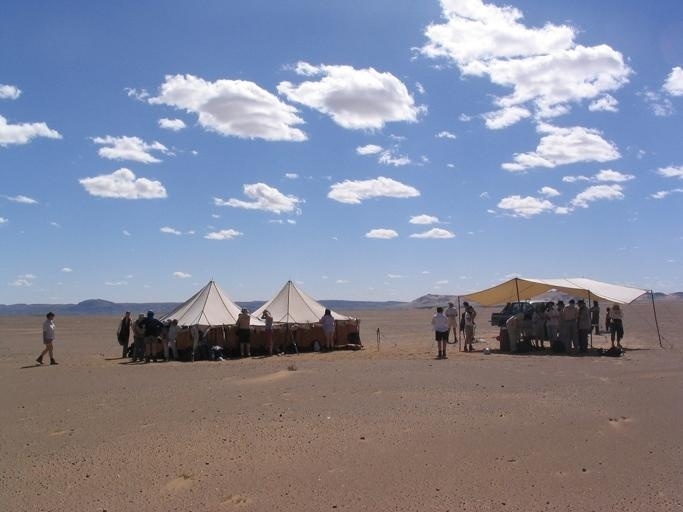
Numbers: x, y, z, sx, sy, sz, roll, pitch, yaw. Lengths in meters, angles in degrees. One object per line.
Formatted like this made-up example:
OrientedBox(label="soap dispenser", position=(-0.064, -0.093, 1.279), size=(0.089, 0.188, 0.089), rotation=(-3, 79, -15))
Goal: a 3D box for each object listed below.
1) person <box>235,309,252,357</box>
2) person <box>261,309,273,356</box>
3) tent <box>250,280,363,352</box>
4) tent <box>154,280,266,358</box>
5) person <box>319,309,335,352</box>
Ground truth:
OrientedBox(label="person", position=(-3.541, 2.799, 20.800), size=(0.578, 1.784, 0.536), rotation=(1, -1, -42))
OrientedBox(label="person", position=(-2.748, 2.886, 21.093), size=(0.392, 1.568, 1.164), rotation=(1, -1, -7))
OrientedBox(label="tent", position=(-1.678, 2.671, 23.403), size=(3.810, 2.471, 3.820), rotation=(0, -3, -29))
OrientedBox(label="tent", position=(-5.172, 2.108, 21.588), size=(3.788, 2.096, 3.922), rotation=(0, -4, 8))
OrientedBox(label="person", position=(-0.548, 2.881, 22.084), size=(0.561, 1.656, 1.032), rotation=(1, -1, -2))
